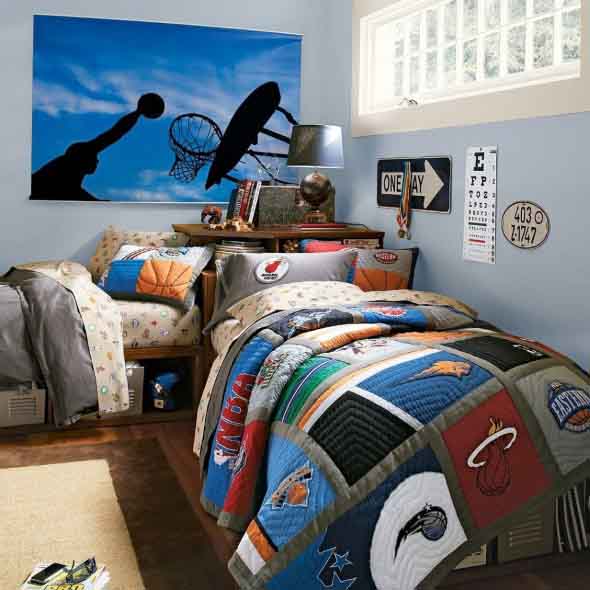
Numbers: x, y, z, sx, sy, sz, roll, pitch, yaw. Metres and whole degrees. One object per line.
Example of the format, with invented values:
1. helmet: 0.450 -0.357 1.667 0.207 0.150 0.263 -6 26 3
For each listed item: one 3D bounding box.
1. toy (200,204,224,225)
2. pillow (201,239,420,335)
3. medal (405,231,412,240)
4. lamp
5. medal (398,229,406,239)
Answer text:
1. toy: -0.571 -0.543 3.502 0.183 0.144 0.165 3 -2 -17
2. pillow: 0.078 -0.032 2.282 0.629 0.296 0.159 -1 -23 -1
3. medal: 0.647 -0.338 2.911 0.010 0.042 0.037 -2 5 -34
4. lamp: 0.123 -0.776 3.242 0.343 0.644 0.396 1 4 -1
5. medal: 0.616 -0.352 2.947 0.035 0.048 0.060 1 4 -1
